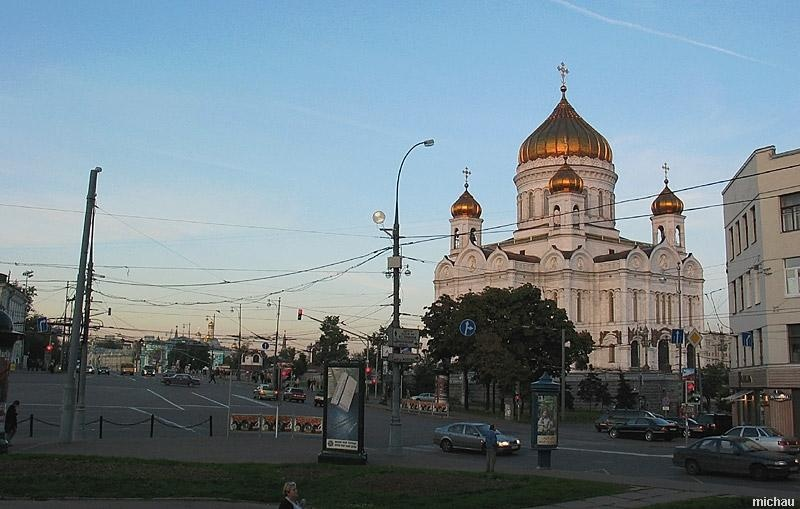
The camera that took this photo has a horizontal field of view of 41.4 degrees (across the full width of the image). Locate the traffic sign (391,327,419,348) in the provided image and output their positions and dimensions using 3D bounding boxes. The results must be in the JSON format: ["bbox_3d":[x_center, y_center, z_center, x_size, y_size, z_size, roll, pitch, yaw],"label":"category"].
[{"bbox_3d":[0.276,5.008,63.612,1.783,1.248,0.885,3,-16,-12],"label":"traffic sign"}]

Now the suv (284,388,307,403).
[{"bbox_3d":[-10.485,13.804,104.655,1.971,1.753,1.431,-4,-16,14],"label":"suv"}]

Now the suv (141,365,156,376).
[{"bbox_3d":[-35.597,16.416,150.212,1.833,1.539,3.581,2,-9,-19],"label":"suv"}]

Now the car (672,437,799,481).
[{"bbox_3d":[18.908,11.530,59.907,3.166,2.065,6.979,4,-7,-33],"label":"car"}]

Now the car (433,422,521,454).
[{"bbox_3d":[4.691,12.041,68.597,6.000,1.814,2.988,-5,-8,43],"label":"car"}]
